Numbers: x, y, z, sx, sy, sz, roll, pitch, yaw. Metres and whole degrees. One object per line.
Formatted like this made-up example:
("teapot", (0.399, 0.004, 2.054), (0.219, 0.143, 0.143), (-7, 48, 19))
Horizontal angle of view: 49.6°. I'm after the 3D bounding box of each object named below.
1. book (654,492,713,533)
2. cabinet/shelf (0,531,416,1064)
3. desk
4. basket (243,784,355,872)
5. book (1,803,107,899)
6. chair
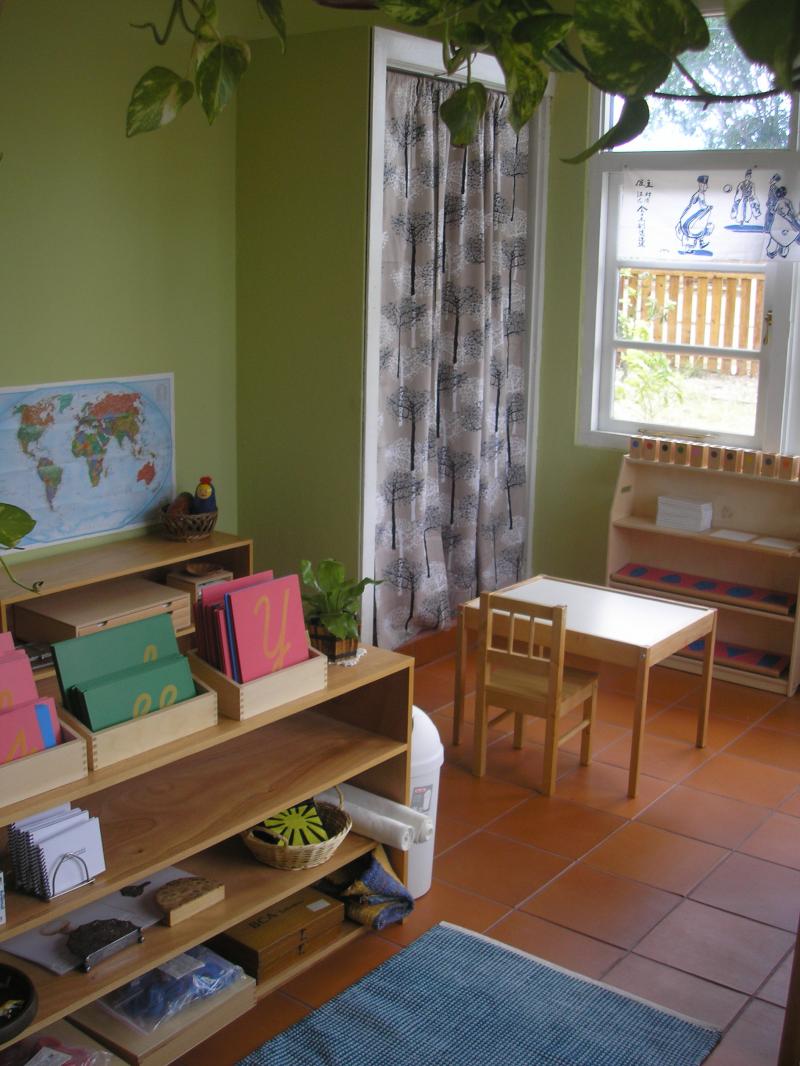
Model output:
("book", (1.685, -0.116, 5.190), (0.242, 0.190, 0.353), (-3, 11, -35))
("cabinet/shelf", (-0.593, 0.882, 2.695), (0.481, 0.845, 1.410), (11, 19, 33))
("desk", (0.971, 0.834, 4.483), (1.293, 0.915, 0.973), (13, 22, 34))
("basket", (-0.337, 1.007, 2.924), (0.246, 0.109, 0.244), (9, 23, 34))
("book", (-0.888, 0.816, 2.223), (0.216, 0.203, 0.127), (-13, 17, -31))
("chair", (0.648, 0.716, 4.091), (0.534, 0.857, 0.516), (-6, 11, -41))
